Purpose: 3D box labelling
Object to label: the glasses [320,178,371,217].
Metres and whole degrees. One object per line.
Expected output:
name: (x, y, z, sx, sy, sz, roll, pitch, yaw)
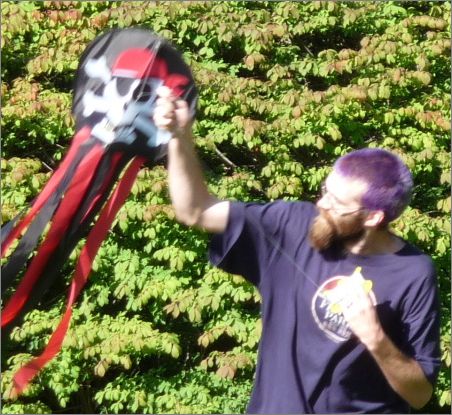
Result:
glasses: (0.457, -0.045, 2.531, 0.156, 0.162, 0.198, 10, -24, -19)
